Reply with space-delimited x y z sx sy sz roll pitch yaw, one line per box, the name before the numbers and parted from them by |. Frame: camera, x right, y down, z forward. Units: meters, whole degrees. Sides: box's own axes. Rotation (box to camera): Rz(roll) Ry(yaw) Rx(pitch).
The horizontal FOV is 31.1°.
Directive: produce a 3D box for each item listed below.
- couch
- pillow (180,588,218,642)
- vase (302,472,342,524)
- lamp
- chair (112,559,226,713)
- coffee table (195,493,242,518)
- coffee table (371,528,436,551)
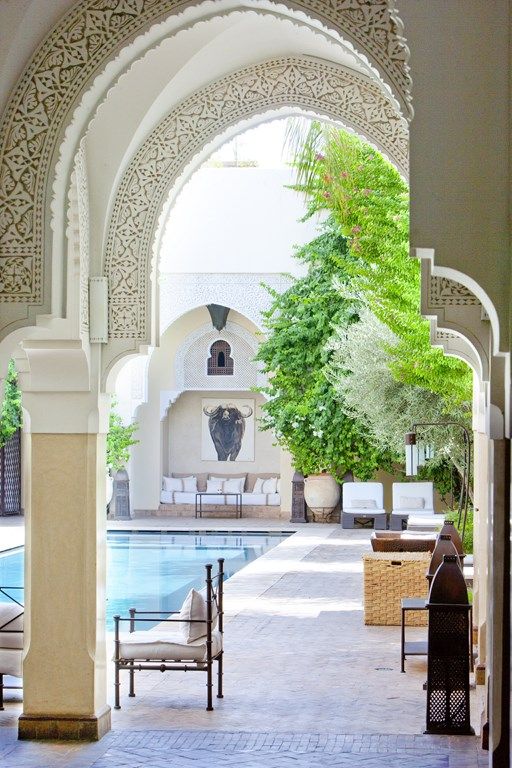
couch | -0.800 2.414 20.615 2.652 0.644 1.478 -1 -4 0
pillow | -0.369 1.474 5.882 0.219 0.363 0.681 -1 -4 -3
vase | 1.332 2.321 18.614 0.702 0.991 0.630 -2 -4 10
lamp | 1.057 1.455 5.073 0.283 0.951 0.420 0 -2 14
chair | -0.552 1.727 6.228 0.942 1.294 1.033 0 0 -7
coffee table | -0.816 2.662 20.115 1.041 0.538 0.326 -1 -4 -2
coffee table | 1.621 1.743 10.081 0.512 0.189 0.443 1 -2 -4
